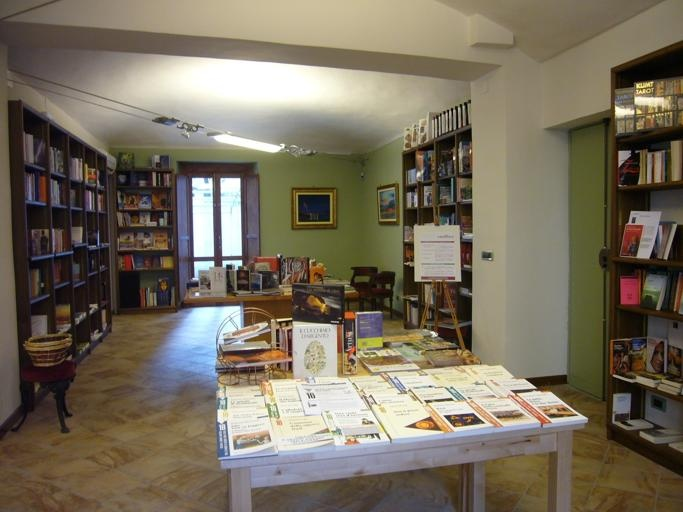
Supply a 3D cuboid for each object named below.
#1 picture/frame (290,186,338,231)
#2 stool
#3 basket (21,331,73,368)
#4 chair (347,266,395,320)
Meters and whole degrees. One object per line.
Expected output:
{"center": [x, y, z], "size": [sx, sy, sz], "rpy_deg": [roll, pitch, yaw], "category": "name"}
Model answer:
{"center": [-0.684, -1.119, 11.638], "size": [0.976, 0.953, 0.073], "rpy_deg": [0, 1, -7], "category": "picture/frame"}
{"center": [-3.181, 1.461, 5.426], "size": [0.522, 0.618, 0.558], "rpy_deg": [6, 0, -18], "category": "stool"}
{"center": [-3.098, 0.981, 5.426], "size": [0.381, 0.244, 0.390], "rpy_deg": [1, -2, -6], "category": "basket"}
{"center": [0.685, 0.660, 9.889], "size": [0.852, 0.919, 1.033], "rpy_deg": [0, 1, -19], "category": "chair"}
